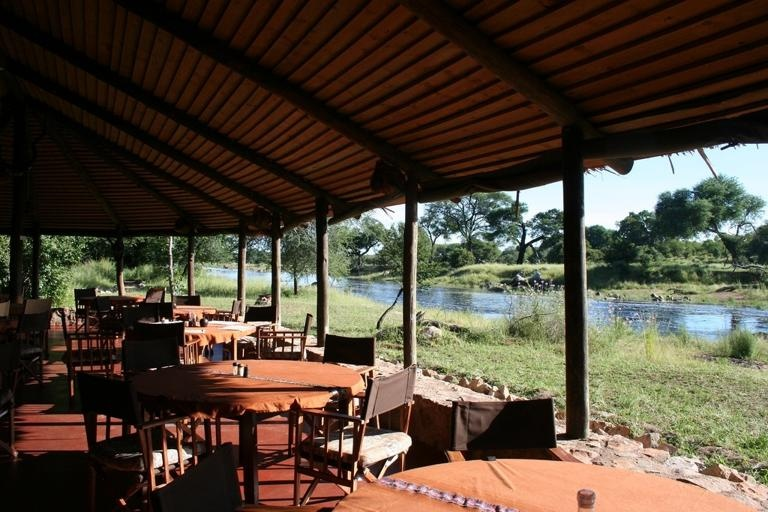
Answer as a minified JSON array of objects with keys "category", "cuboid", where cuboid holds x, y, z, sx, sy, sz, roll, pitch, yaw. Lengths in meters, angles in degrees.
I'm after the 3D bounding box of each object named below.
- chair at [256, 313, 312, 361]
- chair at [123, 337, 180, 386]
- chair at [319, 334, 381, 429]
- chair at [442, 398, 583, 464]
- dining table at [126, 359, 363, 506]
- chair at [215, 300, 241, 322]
[{"category":"chair","cuboid":[-1.523,1.341,8.106,0.781,1.105,0.837,4,-9,-11]},{"category":"chair","cuboid":[-2.545,1.147,5.885,0.412,0.617,0.408,5,-12,-27]},{"category":"chair","cuboid":[-0.306,1.339,6.352,0.615,0.911,0.630,1,-12,6]},{"category":"chair","cuboid":[1.013,1.322,4.776,0.874,0.844,0.717,0,-9,-1]},{"category":"dining table","cuboid":[-1.265,1.389,4.992,1.454,0.982,1.498,0,-10,0]},{"category":"chair","cuboid":[-2.758,1.025,9.650,0.432,0.659,0.441,2,-7,-12]}]
